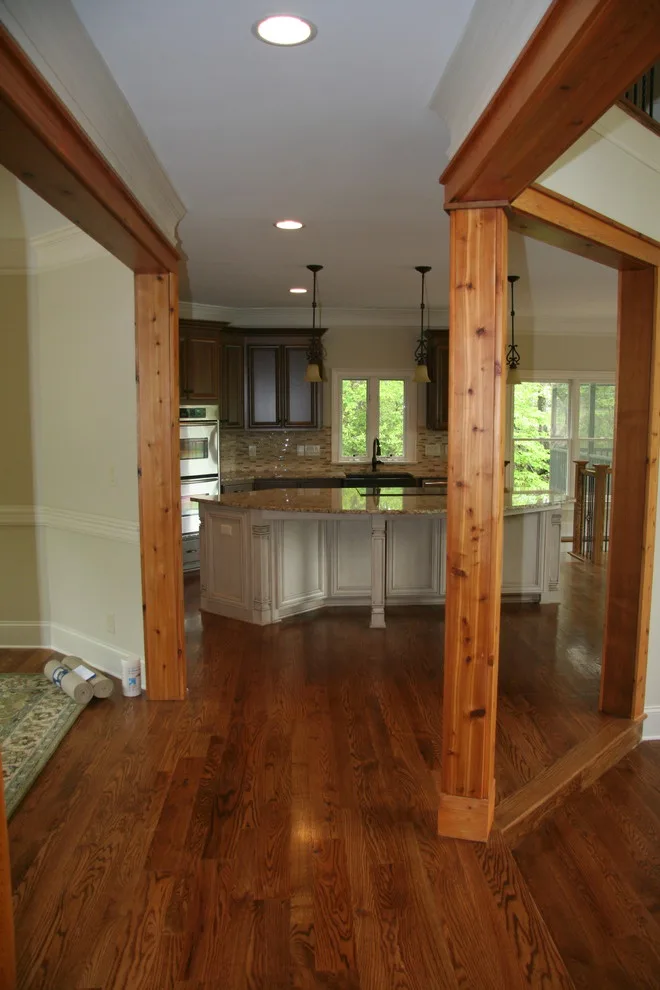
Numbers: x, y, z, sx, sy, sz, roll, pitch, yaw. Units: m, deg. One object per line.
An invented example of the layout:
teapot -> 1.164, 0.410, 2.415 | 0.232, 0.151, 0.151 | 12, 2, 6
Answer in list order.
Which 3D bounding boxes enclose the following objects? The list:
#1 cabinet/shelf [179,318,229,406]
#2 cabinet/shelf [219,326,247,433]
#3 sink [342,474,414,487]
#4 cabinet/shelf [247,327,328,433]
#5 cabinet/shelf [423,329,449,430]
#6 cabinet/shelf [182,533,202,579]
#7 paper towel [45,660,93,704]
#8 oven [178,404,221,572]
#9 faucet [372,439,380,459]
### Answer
cabinet/shelf -> -1.454, -1.270, 6.590 | 0.753, 0.812, 0.406 | -3, 7, -29
cabinet/shelf -> -1.050, -1.215, 7.046 | 0.278, 1.183, 0.092 | -1, 40, -10
sink -> 0.564, -0.178, 7.454 | 0.811, 0.122, 0.415 | 1, 4, 2
cabinet/shelf -> -0.494, -1.252, 6.994 | 1.000, 1.340, 0.648 | 0, 1, -3
cabinet/shelf -> 1.083, -1.240, 7.342 | 0.480, 1.059, 0.266 | 3, 15, 14
cabinet/shelf -> -1.328, 0.566, 6.244 | 0.075, 0.422, 0.212 | 3, 5, 30
paper towel -> -1.375, 0.979, 3.505 | 0.404, 0.146, 0.140 | 2, -25, 42
oven -> -1.295, -0.064, 6.357 | 0.290, 1.646, 0.627 | 1, 4, 12
faucet -> 0.510, -0.544, 7.575 | 0.089, 0.213, 0.161 | 2, 4, 22
